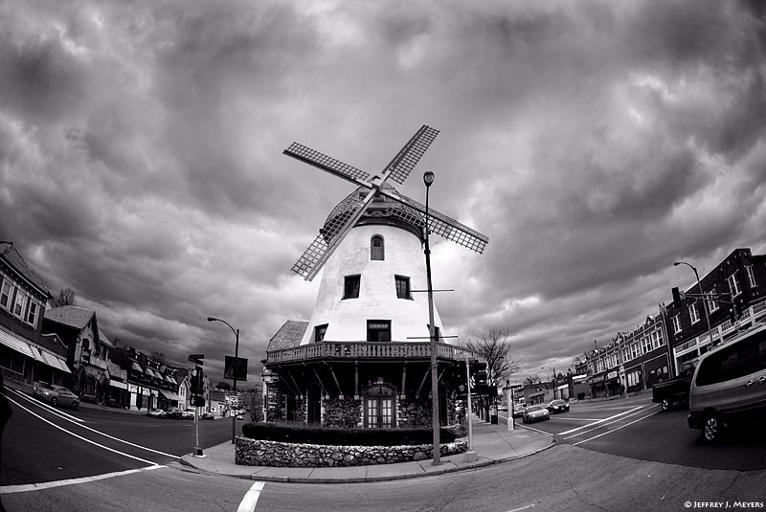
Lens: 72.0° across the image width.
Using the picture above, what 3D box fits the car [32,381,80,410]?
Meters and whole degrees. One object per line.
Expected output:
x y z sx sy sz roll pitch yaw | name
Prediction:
-14.279 6.095 23.063 0.904 0.689 2.103 11 -35 -9 | car
